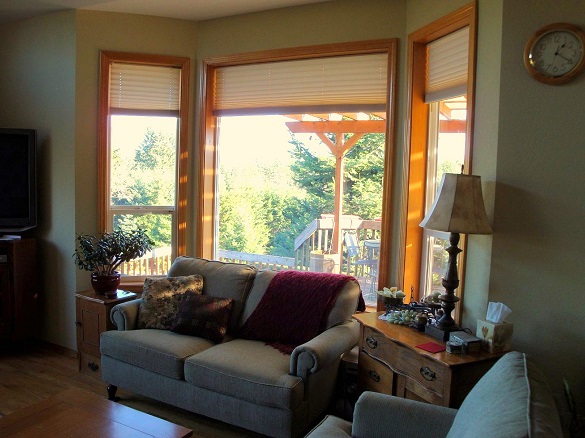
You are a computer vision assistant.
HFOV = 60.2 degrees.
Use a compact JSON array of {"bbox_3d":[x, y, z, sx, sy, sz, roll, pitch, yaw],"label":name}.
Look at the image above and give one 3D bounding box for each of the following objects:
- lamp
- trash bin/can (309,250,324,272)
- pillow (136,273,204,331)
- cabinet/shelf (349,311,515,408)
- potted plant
[{"bbox_3d":[1.066,0.234,3.322,0.455,1.108,0.314,4,3,21],"label":"lamp"},{"bbox_3d":[0.346,0.613,7.320,0.263,0.461,0.258,-1,0,2],"label":"trash bin/can"},{"bbox_3d":[-1.055,0.679,4.134,0.436,0.418,0.131,2,-18,-2],"label":"pillow"},{"bbox_3d":[0.929,0.859,3.436,0.490,0.751,0.839,-2,8,-31],"label":"cabinet/shelf"},{"bbox_3d":[-1.629,0.292,4.641,0.797,0.778,0.591,0,8,-19],"label":"potted plant"}]
